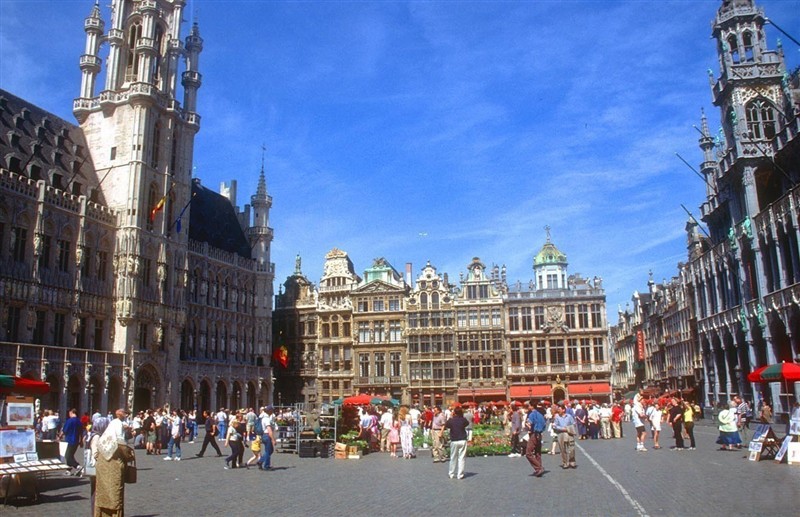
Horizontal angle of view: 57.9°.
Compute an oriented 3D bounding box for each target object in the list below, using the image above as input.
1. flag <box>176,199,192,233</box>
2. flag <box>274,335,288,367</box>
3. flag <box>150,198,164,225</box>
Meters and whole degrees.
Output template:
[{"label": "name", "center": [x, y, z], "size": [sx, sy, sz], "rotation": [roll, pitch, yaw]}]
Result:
[{"label": "flag", "center": [-19.776, -4.145, 65.738], "size": [0.769, 3.405, 2.716], "rotation": [-5, -17, 6]}, {"label": "flag", "center": [-13.542, 10.359, 82.805], "size": [1.766, 3.950, 2.563], "rotation": [0, -18, -10]}, {"label": "flag", "center": [-20.905, -4.452, 62.620], "size": [1.020, 2.203, 1.780], "rotation": [8, -20, -30]}]
